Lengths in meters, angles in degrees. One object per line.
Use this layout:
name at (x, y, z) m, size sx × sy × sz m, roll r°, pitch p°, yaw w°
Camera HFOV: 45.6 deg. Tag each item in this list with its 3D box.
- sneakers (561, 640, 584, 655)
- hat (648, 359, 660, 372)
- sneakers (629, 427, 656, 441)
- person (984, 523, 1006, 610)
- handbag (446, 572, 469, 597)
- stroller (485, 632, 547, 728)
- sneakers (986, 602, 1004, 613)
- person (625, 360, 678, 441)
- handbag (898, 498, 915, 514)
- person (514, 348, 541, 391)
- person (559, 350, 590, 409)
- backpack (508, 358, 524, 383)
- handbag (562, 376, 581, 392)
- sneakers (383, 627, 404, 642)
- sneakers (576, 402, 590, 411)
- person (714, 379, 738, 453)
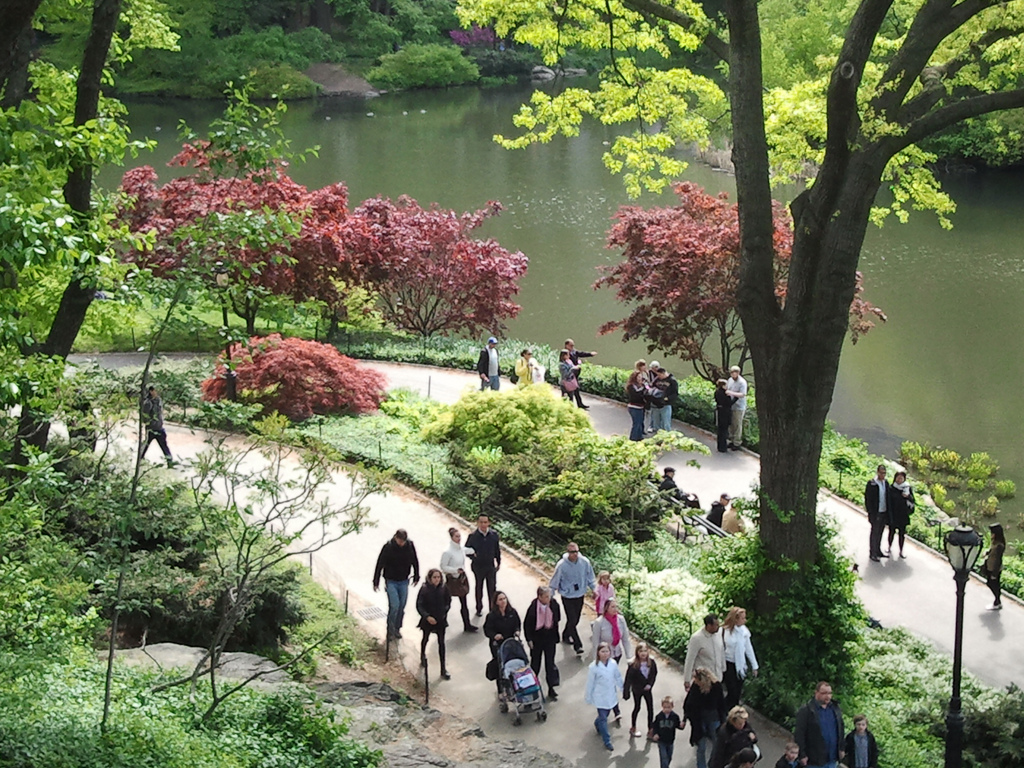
sneakers at (0.961, 4.190, 19.385) m, size 0.121 × 0.206 × 0.557 m, roll 7°, pitch -2°, yaw -35°
hat at (3.149, -0.476, 27.004) m, size 0.225 × 0.330 × 0.262 m, roll -4°, pitch -16°, yaw 3°
sneakers at (2.878, 1.135, 27.255) m, size 0.631 × 0.281 × 0.215 m, roll -11°, pitch 28°, yaw -6°
person at (8.726, 3.268, 21.983) m, size 0.376 × 1.545 × 1.221 m, roll 5°, pitch 0°, yaw 22°
handbag at (-0.888, 3.183, 19.396) m, size 0.362 × 0.511 × 0.259 m, roll -2°, pitch 8°, yaw -6°
stroller at (0.114, 4.398, 18.012) m, size 0.616 × 1.002 × 0.829 m, roll -7°, pitch 9°, yaw -25°
sneakers at (8.665, 4.004, 21.819) m, size 0.244 × 0.103 × 0.129 m, roll 6°, pitch 3°, yaw 14°
person at (3.092, 0.393, 27.144) m, size 1.136 × 1.742 × 1.055 m, roll 5°, pitch 0°, yaw -6°
handbag at (7.469, 2.342, 22.961) m, size 0.211 × 0.306 × 0.279 m, roll 6°, pitch 7°, yaw 6°
person at (0.407, -0.405, 28.625) m, size 0.633 × 0.872 × 1.172 m, roll 5°, pitch 0°, yaw 0°
person at (1.457, -0.085, 28.965) m, size 0.408 × 0.513 × 1.330 m, roll -11°, pitch -29°, yaw 9°
backpack at (0.105, -0.302, 29.991) m, size 0.437 × 0.625 × 0.198 m, roll 15°, pitch -4°, yaw -43°
handbag at (1.367, 0.015, 28.607) m, size 0.416 × 0.244 × 0.298 m, roll -5°, pitch -3°, yaw 3°
sneakers at (-1.907, 4.031, 19.543) m, size 0.269 × 0.271 × 0.140 m, roll -3°, pitch 16°, yaw -11°
sneakers at (1.721, 0.533, 28.917) m, size 0.315 × 0.222 × 0.115 m, roll -5°, pitch 18°, yaw -22°
person at (4.747, 0.726, 27.310) m, size 0.440 × 1.615 × 1.121 m, roll 5°, pitch 0°, yaw 10°
